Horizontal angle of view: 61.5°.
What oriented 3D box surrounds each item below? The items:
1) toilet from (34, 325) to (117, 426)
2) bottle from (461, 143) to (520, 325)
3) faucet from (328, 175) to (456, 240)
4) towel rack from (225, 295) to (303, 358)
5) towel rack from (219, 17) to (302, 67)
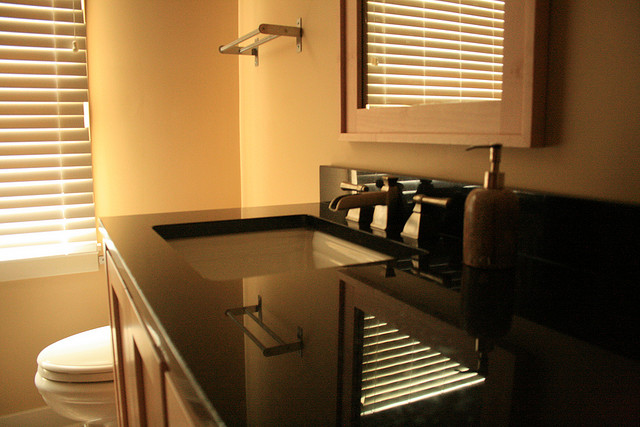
[{"bbox_3d":[-0.856,0.605,1.975,0.319,0.299,0.356,-2,3,-22],"label":"toilet"},{"bbox_3d":[0.374,0.023,1.123,0.144,0.352,0.119,-3,8,-2],"label":"bottle"},{"bbox_3d":[0.217,-0.048,1.397,0.276,0.157,0.321,-5,10,-34],"label":"faucet"},{"bbox_3d":[-0.099,0.191,0.907,0.072,0.044,0.174,-6,14,-30],"label":"towel rack"},{"bbox_3d":[-0.258,-0.656,2.100,0.256,0.138,0.656,-5,12,-17],"label":"towel rack"}]
